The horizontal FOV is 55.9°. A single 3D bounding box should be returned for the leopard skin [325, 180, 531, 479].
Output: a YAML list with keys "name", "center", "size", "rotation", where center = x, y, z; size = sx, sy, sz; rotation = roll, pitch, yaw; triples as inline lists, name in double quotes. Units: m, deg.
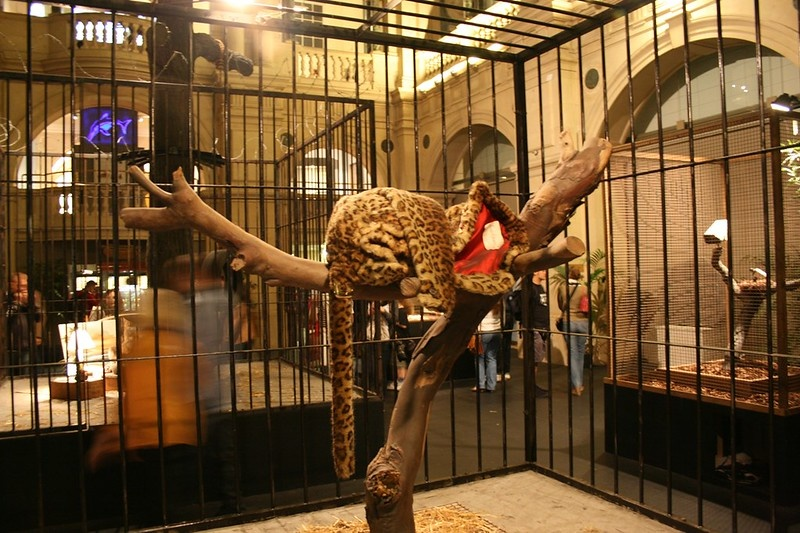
- name: "leopard skin"
  center: [0.271, 0.531, 6.396]
  size: [1.883, 2.207, 1.417]
  rotation: [1, -12, -30]

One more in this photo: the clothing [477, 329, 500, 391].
- name: "clothing"
  center: [1.331, 1.377, 11.630]
  size: [0.340, 0.968, 0.296]
  rotation: [3, 4, -12]

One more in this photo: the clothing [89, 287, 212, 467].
- name: "clothing"
  center: [-2.464, 1.122, 7.672]
  size: [1.047, 1.778, 0.954]
  rotation: [1, 1, 34]
